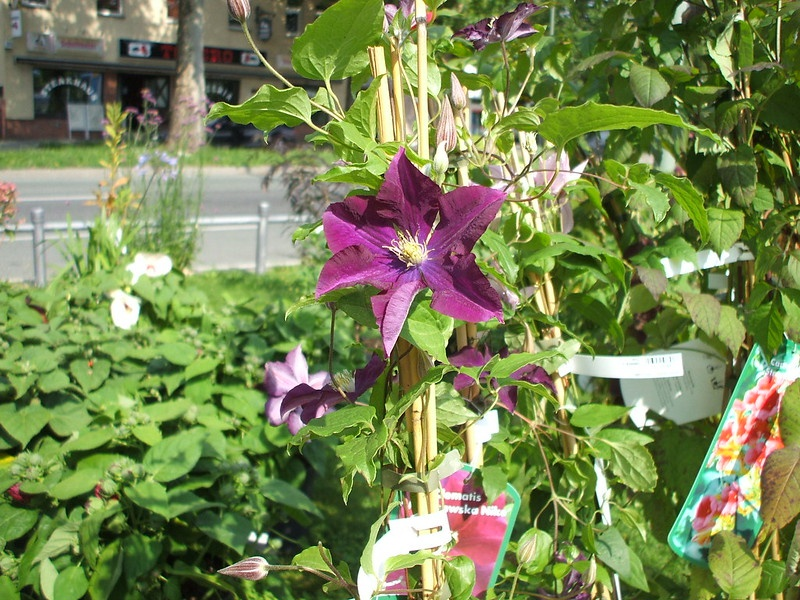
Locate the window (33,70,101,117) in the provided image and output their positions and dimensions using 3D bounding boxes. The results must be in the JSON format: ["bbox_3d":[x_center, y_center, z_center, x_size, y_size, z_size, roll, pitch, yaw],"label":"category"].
[{"bbox_3d":[-1.021,-0.627,2.658,0.200,0.134,0.176,-3,4,-24],"label":"window"}]

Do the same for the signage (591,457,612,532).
[{"bbox_3d":[0.495,0.454,2.098,0.038,0.170,0.219,0,3,14],"label":"signage"}]

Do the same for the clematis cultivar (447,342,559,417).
[{"bbox_3d":[0.222,0.162,1.973,0.172,0.039,0.175,37,35,17],"label":"clematis cultivar"}]

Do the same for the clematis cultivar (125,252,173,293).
[{"bbox_3d":[-0.876,-0.105,3.019,0.070,0.101,0.174,1,4,41],"label":"clematis cultivar"}]

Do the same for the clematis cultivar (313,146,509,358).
[{"bbox_3d":[0.022,-0.121,1.625,0.351,0.320,0.114,-1,2,4],"label":"clematis cultivar"}]

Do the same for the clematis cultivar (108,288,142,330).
[{"bbox_3d":[-0.921,0.038,2.880,0.091,0.139,0.160,-2,3,-20],"label":"clematis cultivar"}]

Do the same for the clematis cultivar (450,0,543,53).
[{"bbox_3d":[0.214,-0.581,1.854,0.106,0.048,0.118,-25,11,5],"label":"clematis cultivar"}]

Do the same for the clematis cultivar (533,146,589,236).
[{"bbox_3d":[0.379,-0.272,2.025,0.081,0.235,0.139,7,-16,-45],"label":"clematis cultivar"}]
